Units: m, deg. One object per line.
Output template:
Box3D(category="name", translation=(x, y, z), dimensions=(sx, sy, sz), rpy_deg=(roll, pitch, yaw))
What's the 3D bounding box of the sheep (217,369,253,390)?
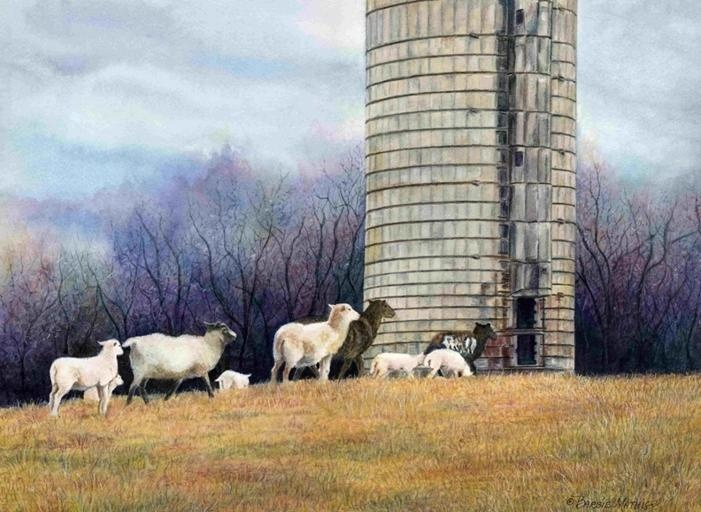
Box3D(category="sheep", translation=(-4.751, 5.173, 58.827), dimensions=(1.395, 0.885, 0.733), rpy_deg=(2, -4, 7))
